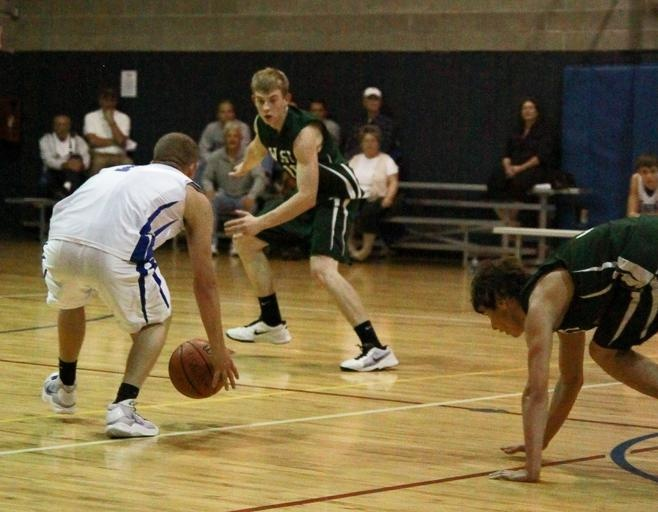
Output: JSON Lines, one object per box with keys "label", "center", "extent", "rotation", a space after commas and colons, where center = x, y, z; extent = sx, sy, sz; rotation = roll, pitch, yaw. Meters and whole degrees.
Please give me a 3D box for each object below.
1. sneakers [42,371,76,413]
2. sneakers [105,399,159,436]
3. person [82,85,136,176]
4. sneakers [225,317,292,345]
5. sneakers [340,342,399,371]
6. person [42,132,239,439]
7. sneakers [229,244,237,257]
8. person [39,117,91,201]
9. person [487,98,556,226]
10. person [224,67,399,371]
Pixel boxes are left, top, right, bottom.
{"label": "sneakers", "center": [-1.147, 0.570, 3.638], "extent": [0.097, 0.124, 0.212], "rotation": [-3, 18, -25]}
{"label": "sneakers", "center": [-0.767, 0.639, 3.394], "extent": [0.279, 0.172, 0.090], "rotation": [4, -6, -34]}
{"label": "person", "center": [-2.494, -1.262, 9.744], "extent": [0.624, 1.190, 0.732], "rotation": [-7, 8, -33]}
{"label": "sneakers", "center": [-0.387, 0.426, 5.008], "extent": [0.406, 0.177, 0.145], "rotation": [2, -2, 4]}
{"label": "sneakers", "center": [0.229, 0.535, 4.553], "extent": [0.330, 0.163, 0.119], "rotation": [-1, -4, -11]}
{"label": "person", "center": [-0.771, 0.095, 3.421], "extent": [0.829, 1.165, 0.470], "rotation": [0, 6, -5]}
{"label": "sneakers", "center": [-0.937, -0.051, 8.424], "extent": [0.095, 0.129, 0.038], "rotation": [-4, 2, -18]}
{"label": "person", "center": [-3.103, -1.162, 10.072], "extent": [0.602, 1.069, 0.998], "rotation": [-2, 14, -13]}
{"label": "person", "center": [1.957, -1.076, 8.761], "extent": [0.612, 1.019, 0.410], "rotation": [1, 6, 4]}
{"label": "person", "center": [-0.117, -0.211, 4.630], "extent": [0.909, 1.549, 0.962], "rotation": [-1, 7, -15]}
